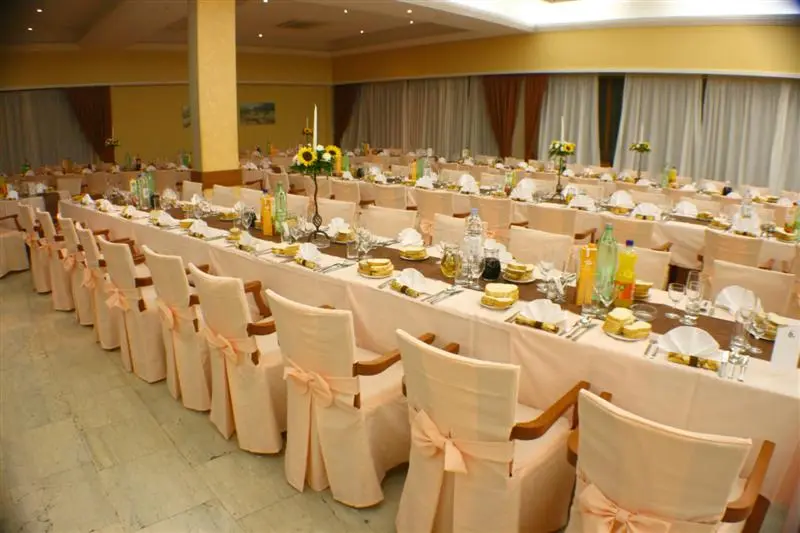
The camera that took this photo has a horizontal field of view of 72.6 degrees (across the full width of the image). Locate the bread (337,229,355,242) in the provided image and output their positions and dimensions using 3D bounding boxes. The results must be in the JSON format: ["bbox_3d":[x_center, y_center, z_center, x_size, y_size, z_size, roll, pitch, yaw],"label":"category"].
[{"bbox_3d":[-0.511,-0.273,4.997,0.122,0.064,0.131,-1,11,-3],"label":"bread"}]

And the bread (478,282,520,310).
[{"bbox_3d":[0.698,0.210,3.786,0.269,0.138,0.222,1,12,7],"label":"bread"}]

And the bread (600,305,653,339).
[{"bbox_3d":[1.443,0.365,3.455,0.284,0.145,0.212,-5,13,-21],"label":"bread"}]

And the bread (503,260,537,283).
[{"bbox_3d":[0.908,0.037,4.141,0.192,0.077,0.148,5,9,37],"label":"bread"}]
